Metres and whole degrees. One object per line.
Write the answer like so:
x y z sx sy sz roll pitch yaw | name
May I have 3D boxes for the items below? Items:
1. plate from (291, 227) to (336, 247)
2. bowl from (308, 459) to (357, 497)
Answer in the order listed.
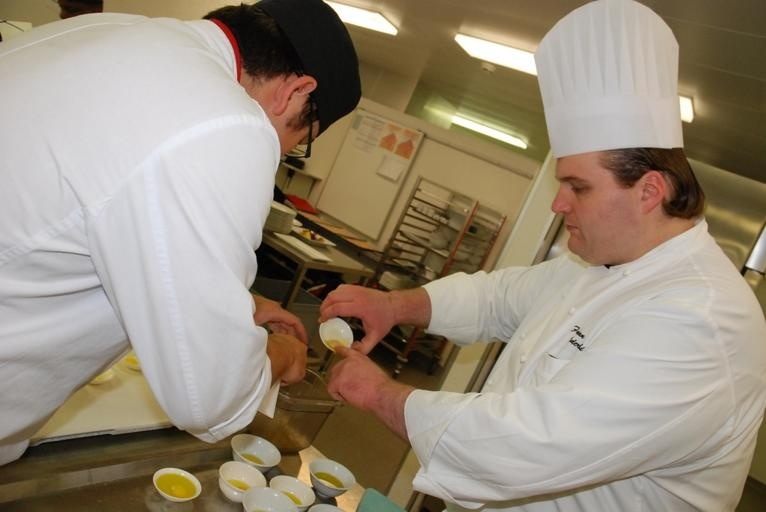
-0.633 -0.181 4.503 0.255 0.044 0.302 7 21 -42 | plate
-0.180 0.746 1.645 0.153 0.160 0.067 12 26 19 | bowl
